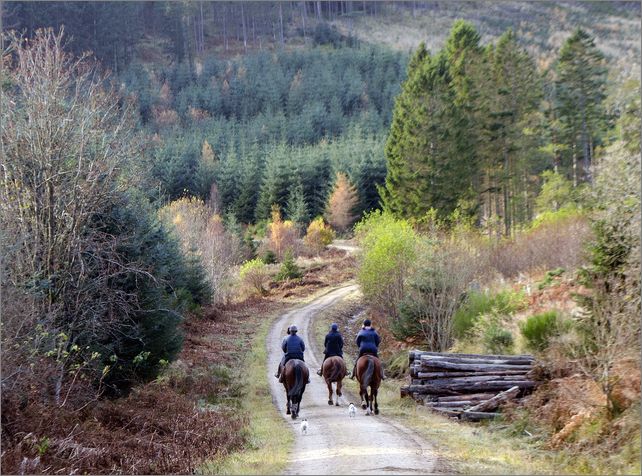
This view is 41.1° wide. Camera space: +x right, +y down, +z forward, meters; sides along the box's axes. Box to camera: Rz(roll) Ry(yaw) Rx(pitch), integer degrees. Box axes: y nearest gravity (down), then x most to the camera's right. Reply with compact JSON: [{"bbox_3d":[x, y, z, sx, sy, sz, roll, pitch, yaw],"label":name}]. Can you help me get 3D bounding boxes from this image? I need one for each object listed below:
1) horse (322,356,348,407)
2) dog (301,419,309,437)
[{"bbox_3d":[0.942,10.614,63.043,1.572,3.950,1.735,9,14,43],"label":"horse"},{"bbox_3d":[-1.157,13.063,59.275,0.505,0.988,1.457,-1,12,-2],"label":"dog"}]
